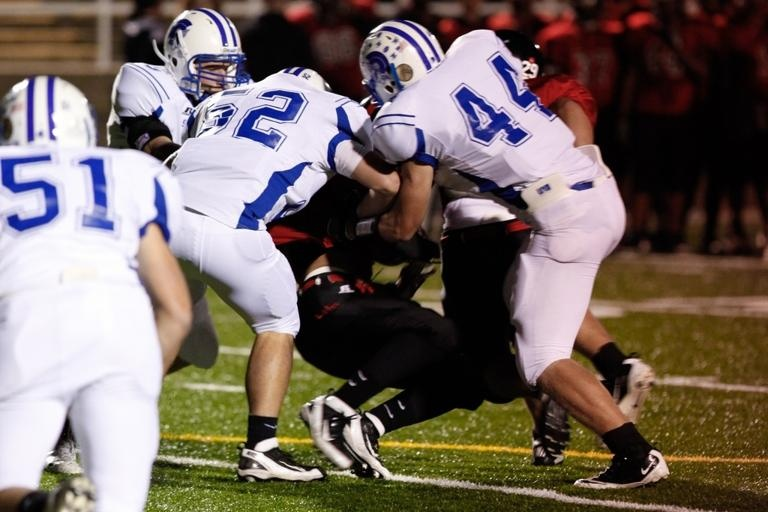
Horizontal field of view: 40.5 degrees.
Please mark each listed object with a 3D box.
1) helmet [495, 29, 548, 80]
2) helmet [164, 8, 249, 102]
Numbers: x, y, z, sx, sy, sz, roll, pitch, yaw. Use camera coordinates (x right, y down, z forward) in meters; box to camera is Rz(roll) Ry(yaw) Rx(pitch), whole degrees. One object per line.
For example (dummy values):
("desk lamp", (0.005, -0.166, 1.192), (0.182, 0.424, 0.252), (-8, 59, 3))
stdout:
("helmet", (0.563, -0.847, 4.436), (0.178, 0.198, 0.402), (11, 14, 16))
("helmet", (-0.825, -0.913, 4.852), (0.445, 0.360, 0.346), (22, 30, 21))
